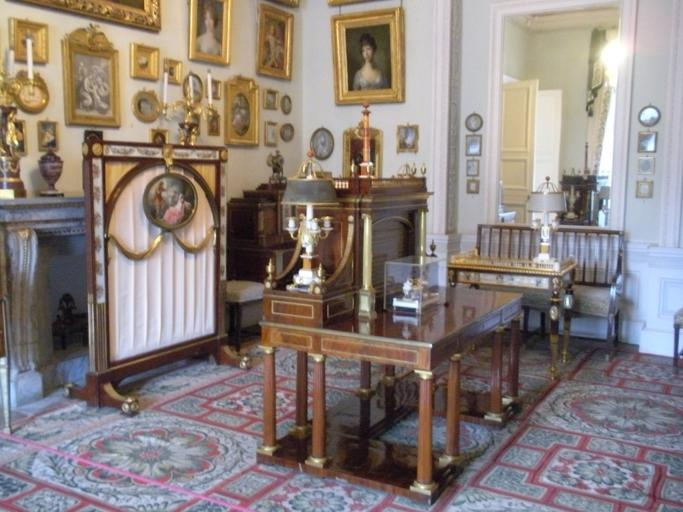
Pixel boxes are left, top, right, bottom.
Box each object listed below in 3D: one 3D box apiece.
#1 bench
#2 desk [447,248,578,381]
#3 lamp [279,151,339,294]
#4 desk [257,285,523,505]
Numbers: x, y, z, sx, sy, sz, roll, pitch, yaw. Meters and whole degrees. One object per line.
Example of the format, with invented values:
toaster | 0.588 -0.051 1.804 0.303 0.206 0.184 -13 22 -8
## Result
bench | 2.748 0.432 8.177 2.222 1.663 0.938 6 14 36
desk | 2.224 0.971 7.829 1.891 1.918 1.312 2 5 29
lamp | -0.261 -0.325 4.900 0.440 1.109 0.724 0 11 -1
desk | 0.624 1.088 5.579 1.675 1.300 2.515 3 6 30
